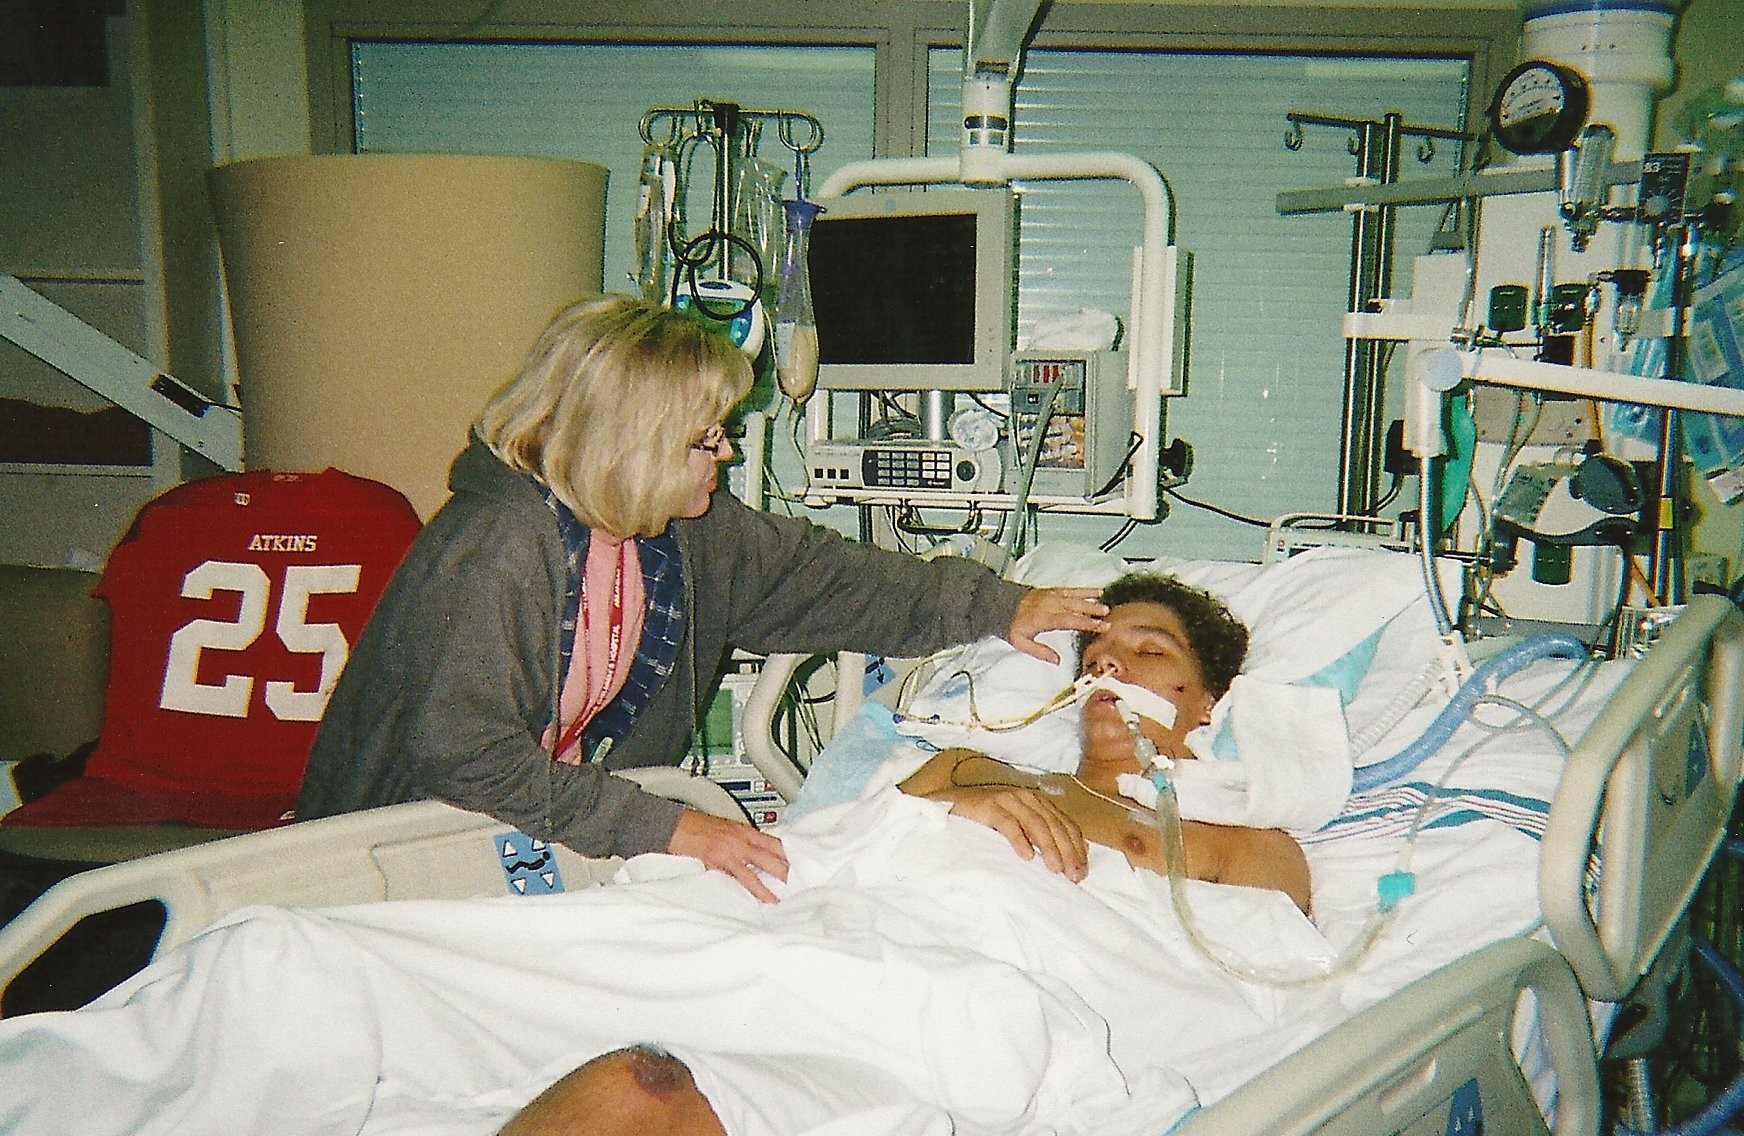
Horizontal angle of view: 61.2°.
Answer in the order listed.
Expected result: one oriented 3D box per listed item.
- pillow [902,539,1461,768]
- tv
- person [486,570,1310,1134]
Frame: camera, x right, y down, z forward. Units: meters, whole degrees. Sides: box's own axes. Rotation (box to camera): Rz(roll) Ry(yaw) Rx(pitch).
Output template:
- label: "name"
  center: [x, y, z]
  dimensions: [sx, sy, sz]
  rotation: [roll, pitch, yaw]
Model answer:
- label: "pillow"
  center: [0.750, 0.201, 3.551]
  dimensions: [1.028, 0.298, 0.569]
  rotation: [-1, 29, 9]
- label: "tv"
  center: [0.118, -0.780, 4.163]
  dimensions: [0.620, 0.475, 0.082]
  rotation: [2, 9, 19]
- label: "person"
  center: [0.249, 0.541, 2.891]
  dimensions: [0.856, 0.481, 1.471]
  rotation: [21, 45, 39]
